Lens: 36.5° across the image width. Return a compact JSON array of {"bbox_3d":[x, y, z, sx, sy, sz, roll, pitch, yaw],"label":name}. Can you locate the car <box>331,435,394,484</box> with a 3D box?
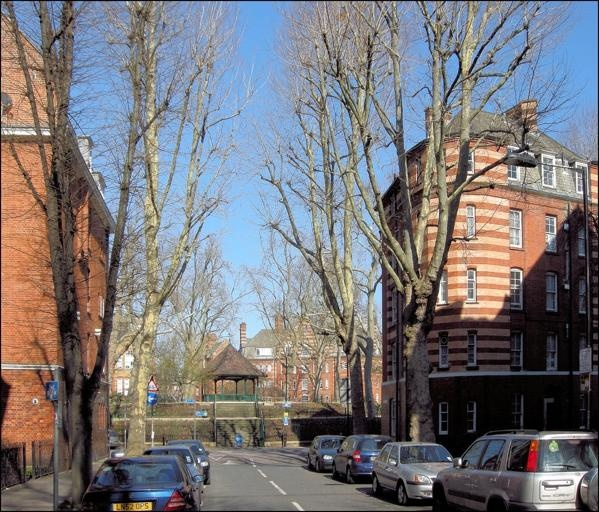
[{"bbox_3d":[2.067,7.178,32.273,1.110,1.246,2.583,1,-7,-7],"label":"car"}]

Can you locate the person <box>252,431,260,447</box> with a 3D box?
[{"bbox_3d":[-3.493,14.629,72.409,0.620,1.176,0.556,0,-15,-5],"label":"person"}]

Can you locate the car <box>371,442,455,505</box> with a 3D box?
[{"bbox_3d":[3.275,6.237,26.099,1.282,1.224,2.326,3,-19,-14],"label":"car"}]
